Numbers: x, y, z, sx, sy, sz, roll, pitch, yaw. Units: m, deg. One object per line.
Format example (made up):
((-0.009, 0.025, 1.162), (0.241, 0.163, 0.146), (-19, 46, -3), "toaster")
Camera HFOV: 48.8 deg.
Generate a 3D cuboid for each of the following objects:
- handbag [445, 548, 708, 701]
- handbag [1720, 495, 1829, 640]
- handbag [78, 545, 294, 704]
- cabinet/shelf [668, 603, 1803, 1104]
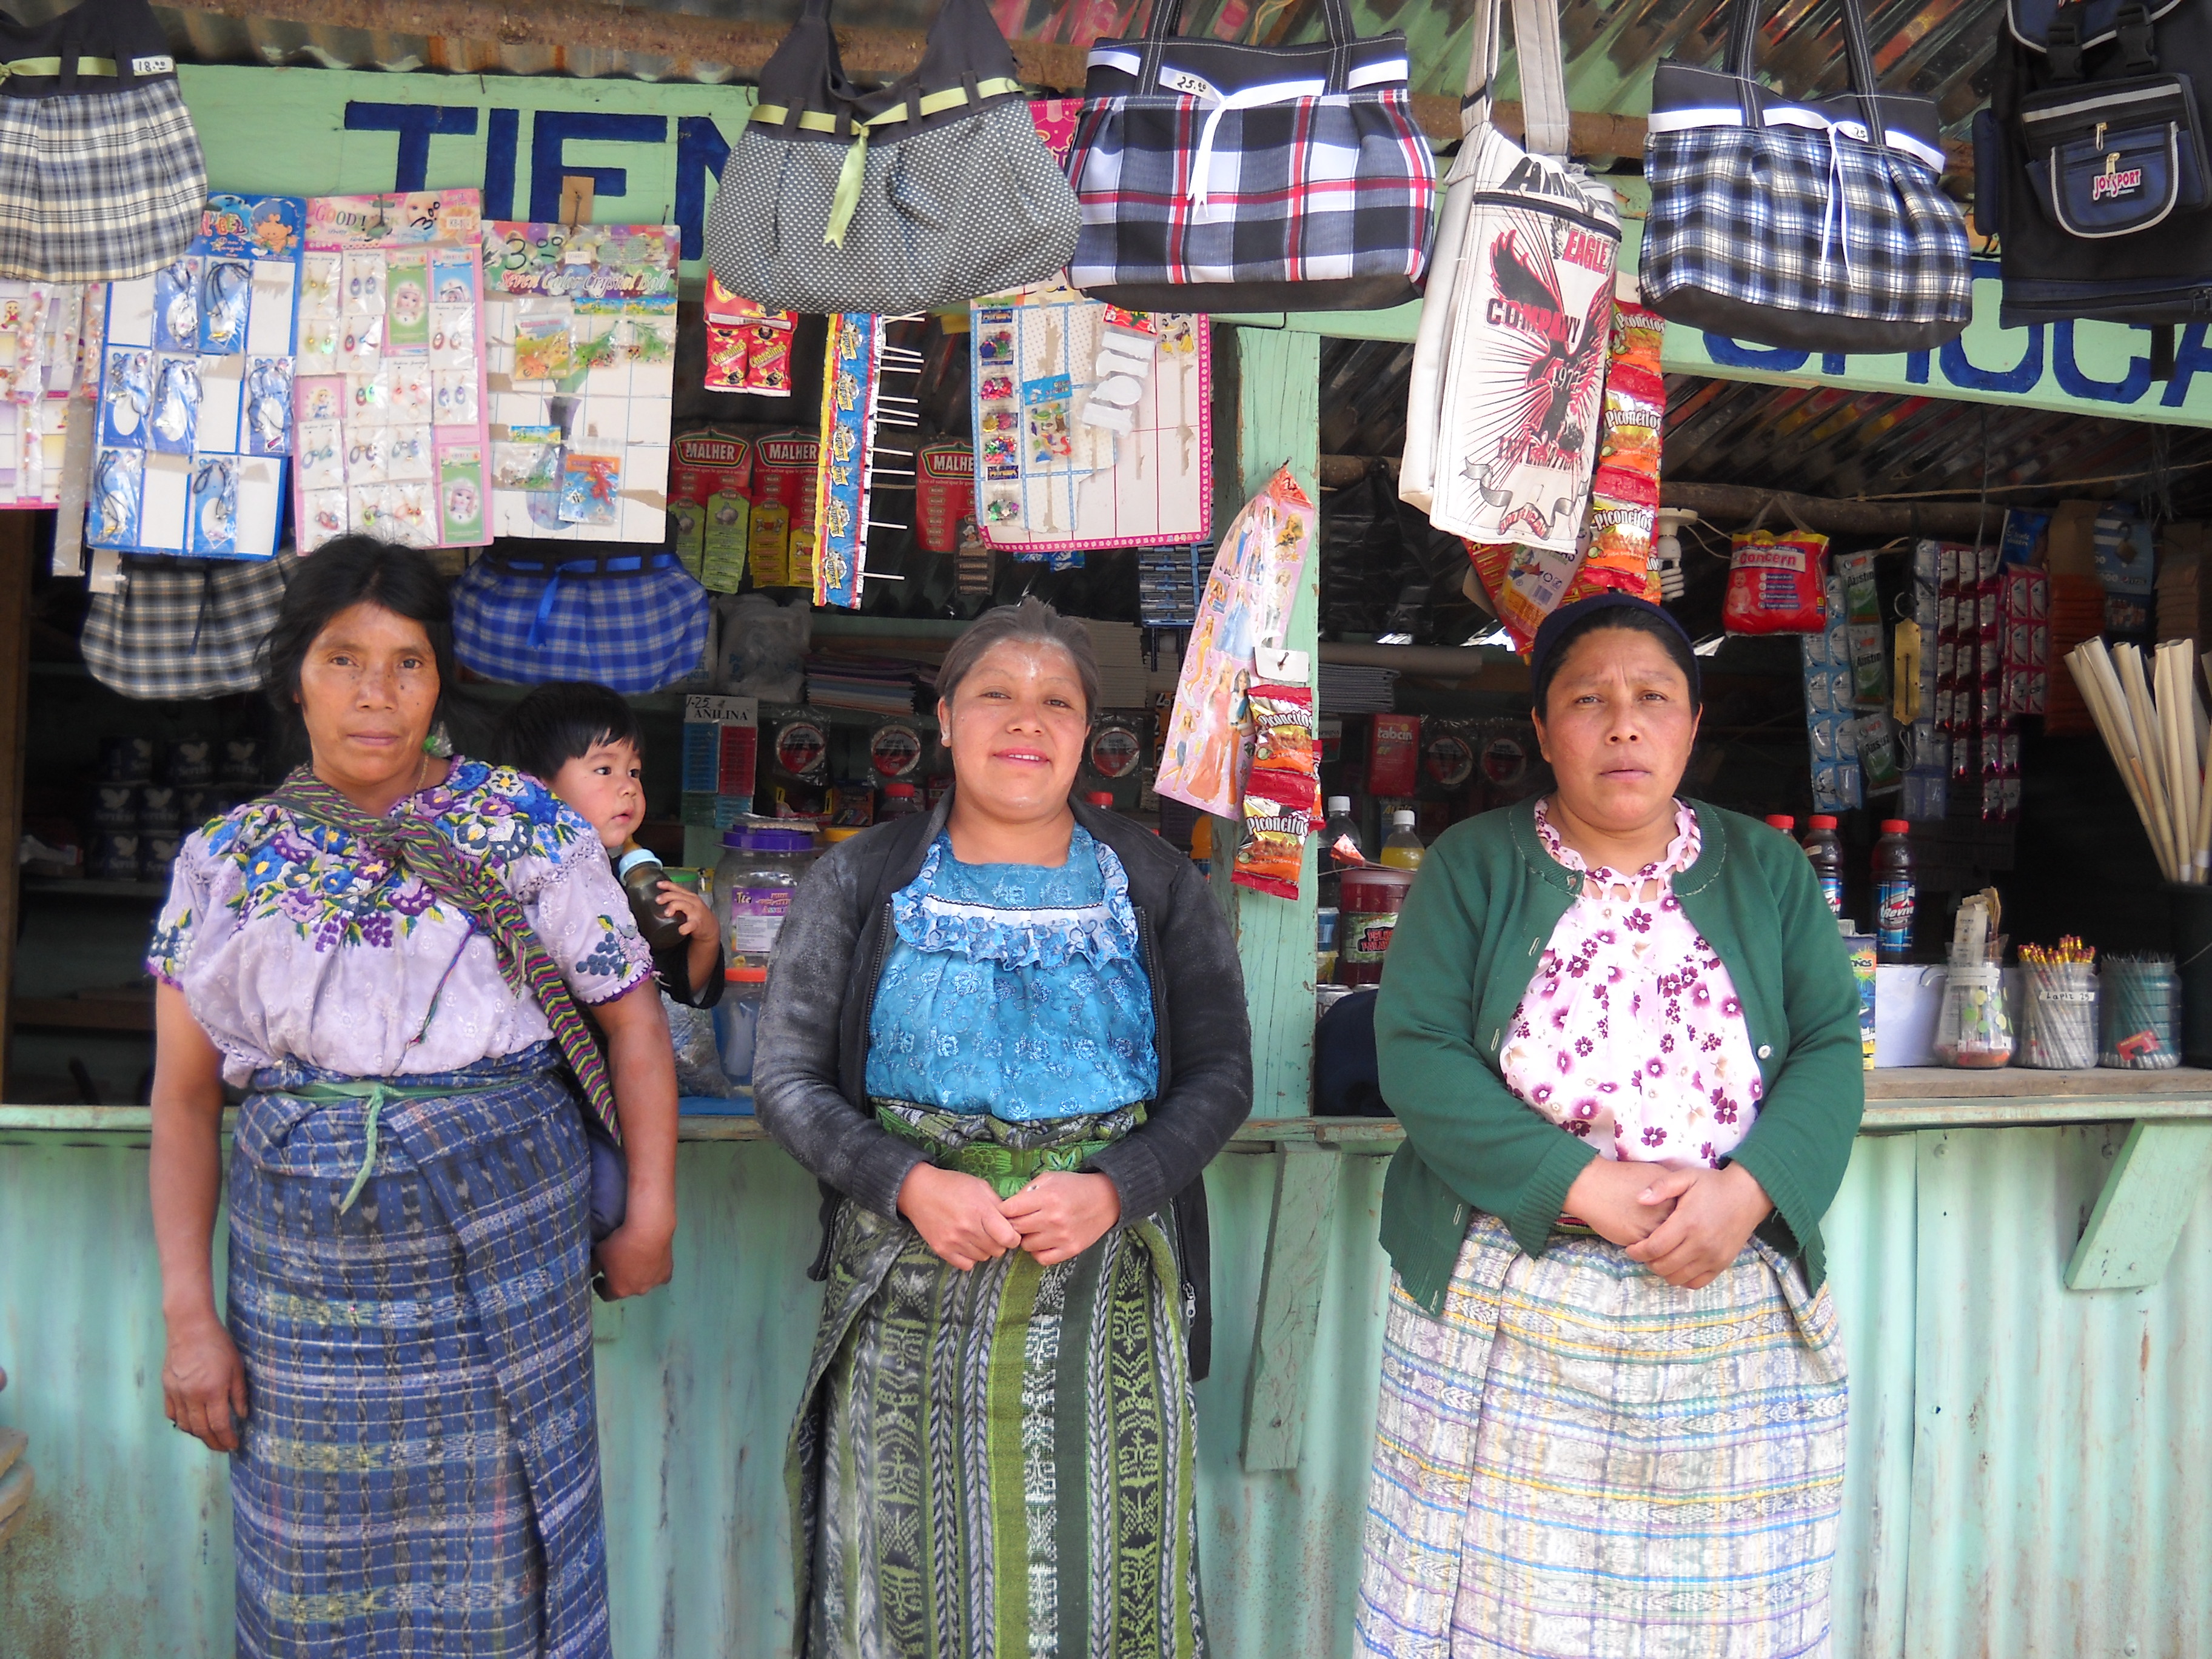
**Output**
((-1.179, -0.499, 5.581), (0.585, 0.357, 0.357), (2, 4, 9), "handbag")
((1.891, -0.696, 6.874), (0.276, 0.342, 0.125), (3, -11, 13), "handbag")
((-1.835, -0.436, 4.827), (0.198, 0.326, 0.367), (31, 21, 37), "handbag")
((0.332, 0.183, 3.890), (1.839, 0.958, 0.584), (0, 8, -6), "cabinet/shelf")
